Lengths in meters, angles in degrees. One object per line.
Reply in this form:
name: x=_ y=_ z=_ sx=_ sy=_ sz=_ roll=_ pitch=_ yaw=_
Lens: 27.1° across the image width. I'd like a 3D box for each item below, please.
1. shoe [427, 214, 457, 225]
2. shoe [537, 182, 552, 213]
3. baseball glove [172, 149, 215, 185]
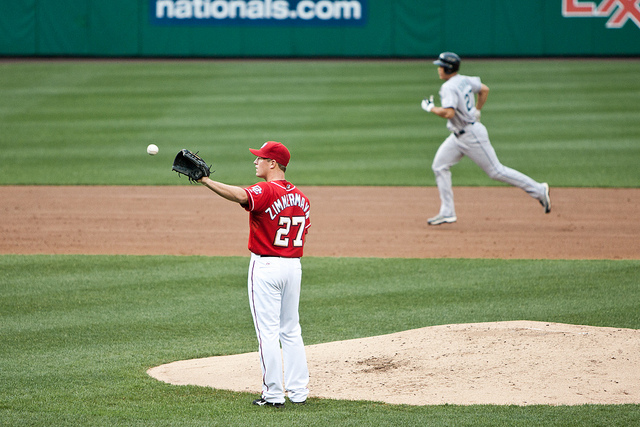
shoe: x=2.733 y=0.177 z=29.694 sx=0.678 sy=0.289 sz=0.244 roll=1 pitch=6 yaw=8
shoe: x=4.945 y=-0.295 z=29.079 sx=0.326 sy=0.722 sz=0.269 roll=0 pitch=2 yaw=9
baseball glove: x=-2.351 y=-0.800 z=24.357 sx=0.759 sy=0.329 sz=0.529 roll=24 pitch=-17 yaw=-11
